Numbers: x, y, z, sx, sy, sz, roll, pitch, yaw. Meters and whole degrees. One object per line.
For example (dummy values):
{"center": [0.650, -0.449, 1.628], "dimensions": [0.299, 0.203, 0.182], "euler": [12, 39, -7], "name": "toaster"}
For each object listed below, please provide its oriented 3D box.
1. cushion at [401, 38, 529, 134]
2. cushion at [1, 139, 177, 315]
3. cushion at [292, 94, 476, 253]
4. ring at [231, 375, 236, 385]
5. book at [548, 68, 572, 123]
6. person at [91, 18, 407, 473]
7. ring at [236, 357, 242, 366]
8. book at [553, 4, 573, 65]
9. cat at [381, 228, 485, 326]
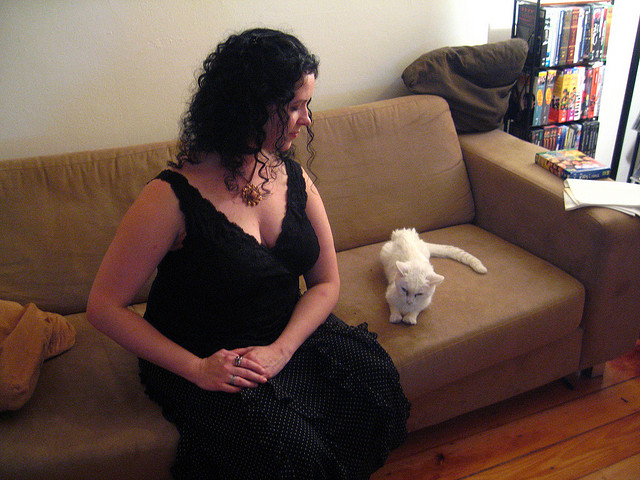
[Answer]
{"center": [0.851, -0.789, 2.853], "dimensions": [0.708, 0.490, 0.340], "euler": [-20, 24, -7], "name": "cushion"}
{"center": [-1.052, -0.003, 2.269], "dimensions": [0.888, 0.638, 0.234], "euler": [-10, 1, -19], "name": "cushion"}
{"center": [0.208, -0.414, 3.021], "dimensions": [1.110, 0.707, 1.510], "euler": [9, 14, 38], "name": "cushion"}
{"center": [-0.272, 0.438, 1.674], "dimensions": [0.009, 0.026, 0.015], "euler": [13, 34, 37], "name": "ring"}
{"center": [1.346, -0.824, 2.967], "dimensions": [0.093, 0.278, 0.265], "euler": [4, 4, 8], "name": "book"}
{"center": [-0.260, 0.128, 1.680], "dimensions": [0.843, 1.401, 0.700], "euler": [-18, 28, -19], "name": "person"}
{"center": [-0.256, 0.382, 1.692], "dimensions": [0.020, 0.020, 0.018], "euler": [-7, 26, 3], "name": "ring"}
{"center": [1.321, -1.099, 2.861], "dimensions": [0.092, 0.283, 0.023], "euler": [-20, 28, -23], "name": "book"}
{"center": [0.415, 0.096, 2.190], "dimensions": [0.350, 0.186, 0.408], "euler": [4, 36, 4], "name": "cat"}
